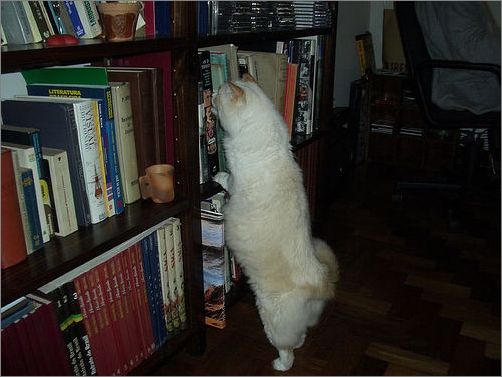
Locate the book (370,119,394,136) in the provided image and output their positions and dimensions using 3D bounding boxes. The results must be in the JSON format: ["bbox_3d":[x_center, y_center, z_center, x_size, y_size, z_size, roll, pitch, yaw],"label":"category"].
[{"bbox_3d":[1.131,-0.533,3.272,0.234,0.129,0.057,11,7,24],"label":"book"}]

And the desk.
[{"bbox_3d":[1.384,-0.611,3.225,0.255,0.756,0.730,-17,21,-36],"label":"desk"}]

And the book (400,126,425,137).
[{"bbox_3d":[1.344,-0.473,3.148,0.146,0.089,0.039,6,6,30],"label":"book"}]

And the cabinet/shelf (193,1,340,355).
[{"bbox_3d":[0.157,-0.049,1.640,0.616,1.212,0.341,-5,5,39],"label":"cabinet/shelf"}]

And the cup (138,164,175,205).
[{"bbox_3d":[-0.293,-0.021,1.263,0.131,0.136,0.092,-4,24,-9],"label":"cup"}]

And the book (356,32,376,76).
[{"bbox_3d":[0.981,-1.146,3.265,0.086,0.418,0.359,4,27,35],"label":"book"}]

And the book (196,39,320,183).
[{"bbox_3d":[0.017,-0.336,1.548,0.264,0.511,0.508,17,33,35],"label":"book"}]

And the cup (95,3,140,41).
[{"bbox_3d":[-0.382,-0.464,1.080,0.121,0.101,0.126,1,19,0],"label":"cup"}]
